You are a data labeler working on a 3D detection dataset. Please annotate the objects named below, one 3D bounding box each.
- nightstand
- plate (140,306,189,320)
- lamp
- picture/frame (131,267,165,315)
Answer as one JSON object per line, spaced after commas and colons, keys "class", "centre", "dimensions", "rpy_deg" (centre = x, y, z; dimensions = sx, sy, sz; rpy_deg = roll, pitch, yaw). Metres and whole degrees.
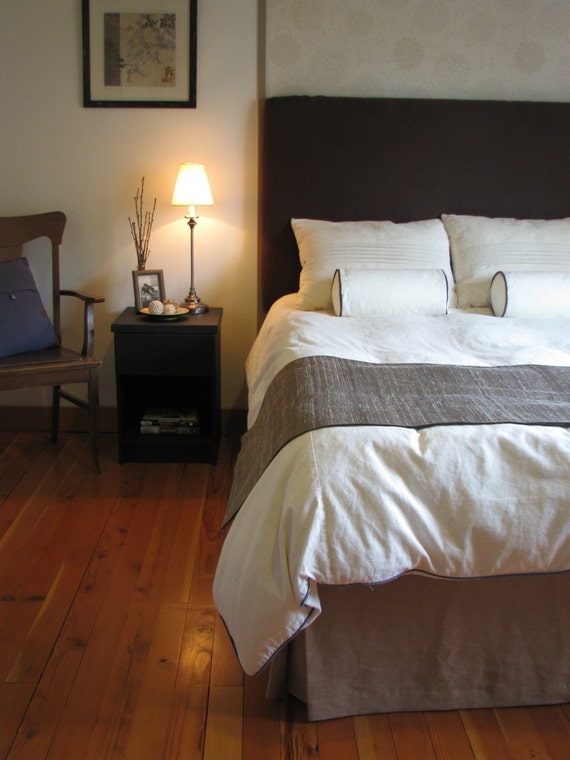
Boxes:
{"class": "nightstand", "centre": [-0.511, 0.014, 2.750], "dimensions": [0.432, 0.633, 0.444], "rpy_deg": [-1, 12, -6]}
{"class": "plate", "centre": [-0.524, -0.287, 2.658], "dimensions": [0.211, 0.046, 0.185], "rpy_deg": [-2, 14, -14]}
{"class": "lamp", "centre": [-0.408, -0.636, 2.741], "dimensions": [0.174, 0.652, 0.288], "rpy_deg": [-1, 12, -7]}
{"class": "picture/frame", "centre": [-0.618, -0.403, 2.761], "dimensions": [0.171, 0.274, 0.033], "rpy_deg": [-13, 6, -37]}
